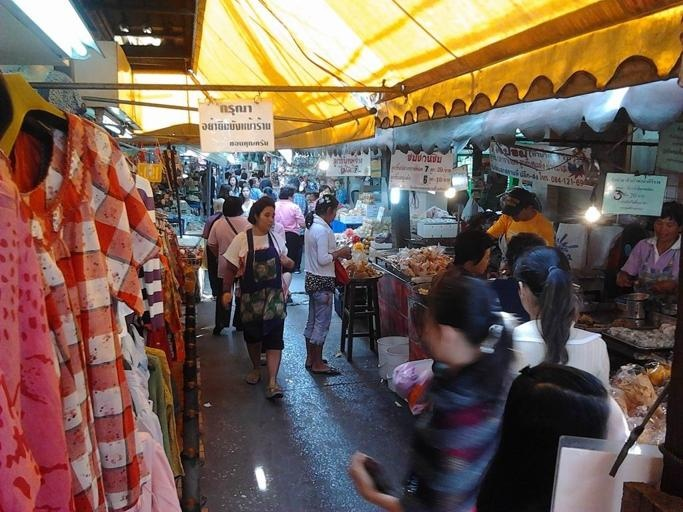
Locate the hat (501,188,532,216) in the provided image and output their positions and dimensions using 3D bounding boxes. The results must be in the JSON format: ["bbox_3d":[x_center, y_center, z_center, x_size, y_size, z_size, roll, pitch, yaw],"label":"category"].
[{"bbox_3d":[2.077,-0.637,5.872,0.344,0.204,0.262,-9,22,49],"label":"hat"}]

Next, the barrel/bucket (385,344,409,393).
[{"bbox_3d":[0.637,1.319,5.786,0.392,0.464,0.443,0,5,2],"label":"barrel/bucket"}]

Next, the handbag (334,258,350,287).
[{"bbox_3d":[0.004,0.222,6.445,0.145,0.367,0.309,-20,13,-6],"label":"handbag"}]

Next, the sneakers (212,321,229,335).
[{"bbox_3d":[-1.896,1.168,7.783,0.209,0.222,0.244,6,-11,39],"label":"sneakers"}]

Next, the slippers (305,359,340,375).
[{"bbox_3d":[-0.205,1.451,6.407,0.515,0.209,0.173,-2,0,2],"label":"slippers"}]

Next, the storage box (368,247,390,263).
[{"bbox_3d":[0.633,-0.016,7.929,0.250,0.159,0.252,-1,3,-18],"label":"storage box"}]

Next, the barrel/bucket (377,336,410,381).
[{"bbox_3d":[0.575,1.223,5.993,0.481,0.479,0.479,-1,9,0],"label":"barrel/bucket"}]
